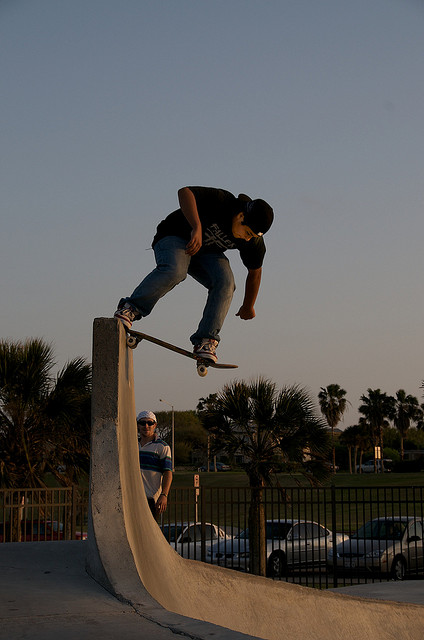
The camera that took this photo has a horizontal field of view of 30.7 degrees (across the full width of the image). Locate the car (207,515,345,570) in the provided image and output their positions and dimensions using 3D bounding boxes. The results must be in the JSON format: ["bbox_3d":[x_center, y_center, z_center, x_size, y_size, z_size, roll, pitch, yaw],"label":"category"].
[{"bbox_3d":[1.043,3.921,13.591,2.581,0.811,1.164,9,-15,-39],"label":"car"}]

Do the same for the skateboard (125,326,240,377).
[{"bbox_3d":[-0.179,0.145,4.258,0.502,0.085,0.103,27,-7,-6],"label":"skateboard"}]

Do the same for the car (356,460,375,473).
[{"bbox_3d":[14.717,13.871,73.772,2.276,1.208,1.266,3,-8,17],"label":"car"}]

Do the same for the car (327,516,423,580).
[{"bbox_3d":[2.926,3.792,13.254,1.698,0.784,0.968,10,-16,-37],"label":"car"}]

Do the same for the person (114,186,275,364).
[{"bbox_3d":[-0.104,-0.307,5.076,0.855,1.110,0.733,17,-23,7],"label":"person"}]

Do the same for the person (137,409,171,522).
[{"bbox_3d":[-0.463,1.133,6.093,0.281,0.835,0.475,2,-9,-5],"label":"person"}]
